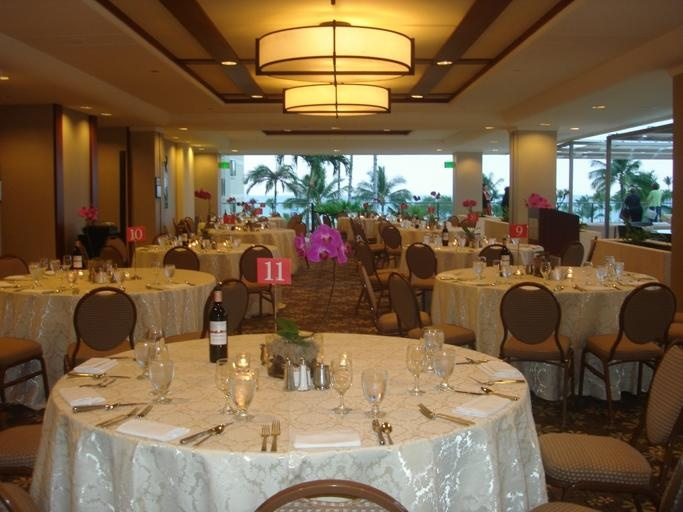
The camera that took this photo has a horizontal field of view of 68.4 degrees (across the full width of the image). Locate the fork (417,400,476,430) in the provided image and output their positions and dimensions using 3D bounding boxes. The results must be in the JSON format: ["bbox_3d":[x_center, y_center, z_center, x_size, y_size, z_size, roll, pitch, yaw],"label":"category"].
[{"bbox_3d":[0.406,0.655,2.118,0.065,0.056,0.319,-7,13,-43],"label":"fork"}]

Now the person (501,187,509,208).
[{"bbox_3d":[4.928,-1.763,15.215,0.142,0.643,1.802,2,8,16],"label":"person"}]

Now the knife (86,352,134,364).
[{"bbox_3d":[-1.451,0.640,3.150,0.227,0.062,0.249,2,0,-6],"label":"knife"}]

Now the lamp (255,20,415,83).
[{"bbox_3d":[-0.087,-1.973,4.786,0.976,0.314,1.023,0,1,-3],"label":"lamp"}]

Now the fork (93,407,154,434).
[{"bbox_3d":[-0.897,0.673,2.090,0.054,0.010,0.212,7,5,12],"label":"fork"}]

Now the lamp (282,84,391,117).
[{"bbox_3d":[-0.070,-2.054,6.552,1.343,0.422,1.387,-2,13,-6],"label":"lamp"}]

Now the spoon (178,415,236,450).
[{"bbox_3d":[-0.514,0.670,1.951,0.050,0.043,0.283,9,7,25],"label":"spoon"}]
